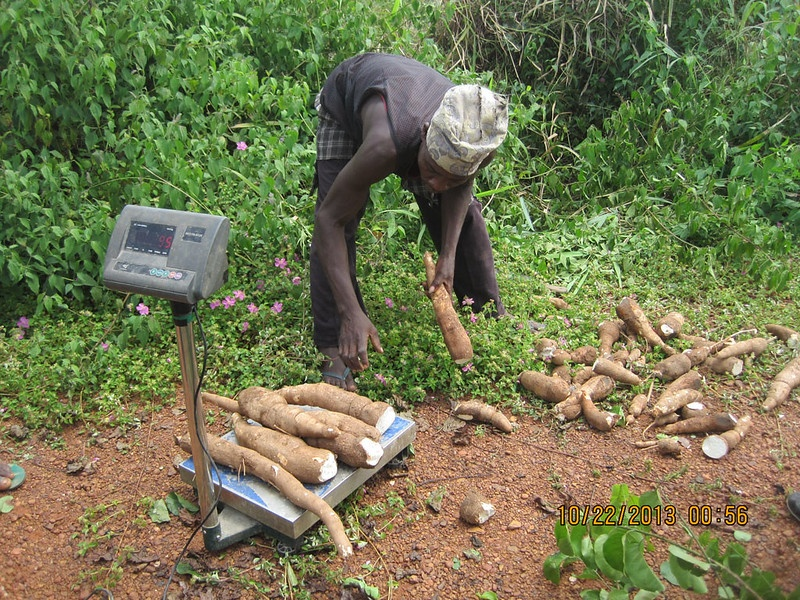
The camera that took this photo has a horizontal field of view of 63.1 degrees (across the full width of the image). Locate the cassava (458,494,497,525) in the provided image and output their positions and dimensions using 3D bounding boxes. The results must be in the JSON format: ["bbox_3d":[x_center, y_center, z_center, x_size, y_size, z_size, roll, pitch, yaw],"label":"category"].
[{"bbox_3d":[0.457,1.232,3.790,0.211,0.157,0.122,12,33,4],"label":"cassava"}]

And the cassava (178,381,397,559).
[{"bbox_3d":[-0.629,1.013,3.723,0.984,0.529,1.084,9,21,9],"label":"cassava"}]

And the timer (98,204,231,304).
[{"bbox_3d":[-1.174,-0.238,3.280,0.532,0.420,0.400,8,15,9],"label":"timer"}]

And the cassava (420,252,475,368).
[{"bbox_3d":[0.295,0.125,4.422,0.183,0.178,1.078,4,54,-29],"label":"cassava"}]

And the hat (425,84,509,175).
[{"bbox_3d":[0.376,-0.948,3.719,0.451,0.474,0.335,9,33,0],"label":"hat"}]

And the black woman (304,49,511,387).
[{"bbox_3d":[-0.034,-0.585,4.403,1.251,2.369,1.239,28,21,26],"label":"black woman"}]
